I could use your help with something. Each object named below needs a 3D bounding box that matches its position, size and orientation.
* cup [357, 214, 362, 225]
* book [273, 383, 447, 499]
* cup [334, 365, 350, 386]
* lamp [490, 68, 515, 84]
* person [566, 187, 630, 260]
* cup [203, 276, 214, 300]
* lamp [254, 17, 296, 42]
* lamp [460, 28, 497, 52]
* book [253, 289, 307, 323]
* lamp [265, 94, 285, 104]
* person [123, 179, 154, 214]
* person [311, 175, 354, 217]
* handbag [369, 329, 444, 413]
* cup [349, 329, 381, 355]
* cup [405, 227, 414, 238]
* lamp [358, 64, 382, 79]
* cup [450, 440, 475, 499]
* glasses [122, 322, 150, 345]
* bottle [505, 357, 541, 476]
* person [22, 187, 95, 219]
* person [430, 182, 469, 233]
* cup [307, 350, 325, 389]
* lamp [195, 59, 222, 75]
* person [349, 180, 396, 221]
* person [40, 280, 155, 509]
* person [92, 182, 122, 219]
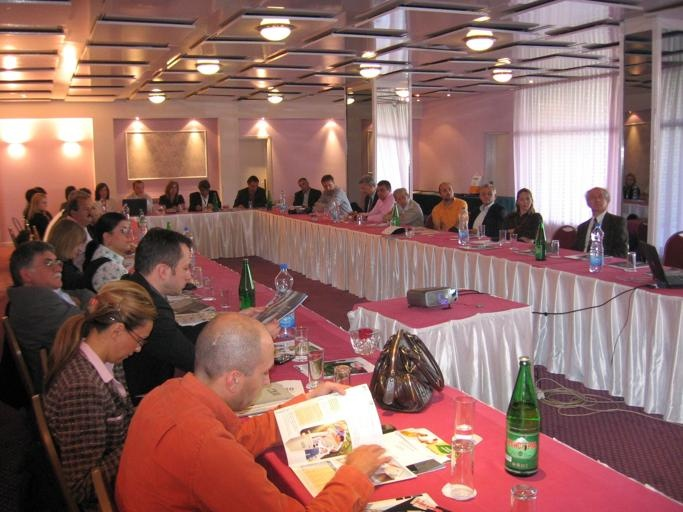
[{"bbox_3d":[0.264,-0.531,7.743,0.104,0.121,0.208,-9,10,0],"label":"cup"},{"bbox_3d":[0.045,0.625,1.916,0.431,0.177,0.354,-13,32,-21],"label":"book"},{"bbox_3d":[0.007,0.509,2.310,0.063,0.085,0.074,1,0,2],"label":"cup"},{"bbox_3d":[2.777,-3.115,9.256,0.380,0.280,0.415,-7,27,-3],"label":"lamp"},{"bbox_3d":[2.556,-0.281,5.404,0.470,0.842,0.532,3,1,-38],"label":"person"},{"bbox_3d":[-1.001,0.246,4.051,0.101,0.198,0.112,-2,-13,1],"label":"cup"},{"bbox_3d":[-0.710,-2.469,5.859,0.353,0.181,0.336,-6,12,-7],"label":"lamp"},{"bbox_3d":[1.649,-2.568,6.367,0.320,0.200,0.295,-1,13,13],"label":"lamp"},{"bbox_3d":[-0.350,0.282,2.908,0.272,0.035,0.394,0,23,-5],"label":"book"},{"bbox_3d":[-1.389,-3.317,11.409,0.367,0.264,0.397,-2,5,-1],"label":"lamp"},{"bbox_3d":[-3.797,-1.064,10.080,0.456,0.697,0.805,-2,24,-20],"label":"person"},{"bbox_3d":[-0.171,-0.817,9.070,0.720,1.072,0.601,-4,6,-2],"label":"person"},{"bbox_3d":[0.281,0.465,2.262,0.267,0.311,0.368,-3,4,29],"label":"handbag"},{"bbox_3d":[0.127,0.435,2.800,0.127,0.096,0.137,-1,-6,0],"label":"cup"},{"bbox_3d":[0.802,-0.279,6.256,0.094,0.198,0.107,2,4,10],"label":"cup"},{"bbox_3d":[0.458,-2.895,8.375,0.311,0.183,0.487,-2,13,9],"label":"lamp"},{"bbox_3d":[0.394,0.678,1.729,0.081,0.158,0.123,-1,12,13],"label":"cup"},{"bbox_3d":[-0.848,0.326,2.220,0.088,0.029,0.089,18,-6,42],"label":"glasses"},{"bbox_3d":[0.634,0.527,1.871,0.112,0.363,0.278,1,13,21],"label":"bottle"},{"bbox_3d":[-4.613,-0.877,8.633,1.073,0.308,1.151,0,4,-8],"label":"person"},{"bbox_3d":[1.490,-0.608,7.476,0.518,0.838,0.477,-4,9,24],"label":"person"},{"bbox_3d":[-0.114,0.513,2.421,0.105,0.159,0.114,-2,-4,0],"label":"cup"},{"bbox_3d":[-1.928,-2.763,7.823,0.214,0.145,0.232,0,10,9],"label":"lamp"},{"bbox_3d":[0.604,-0.777,7.990,0.662,0.617,0.488,-5,5,-1],"label":"person"},{"bbox_3d":[-0.919,0.547,2.064,0.355,0.952,0.380,-6,26,-18],"label":"person"},{"bbox_3d":[-4.378,-0.819,9.937,0.434,1.060,0.278,-1,-34,-28],"label":"person"}]
